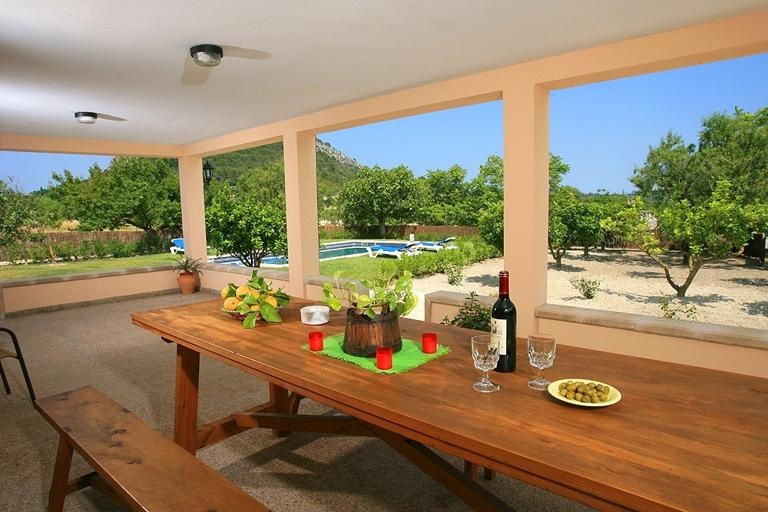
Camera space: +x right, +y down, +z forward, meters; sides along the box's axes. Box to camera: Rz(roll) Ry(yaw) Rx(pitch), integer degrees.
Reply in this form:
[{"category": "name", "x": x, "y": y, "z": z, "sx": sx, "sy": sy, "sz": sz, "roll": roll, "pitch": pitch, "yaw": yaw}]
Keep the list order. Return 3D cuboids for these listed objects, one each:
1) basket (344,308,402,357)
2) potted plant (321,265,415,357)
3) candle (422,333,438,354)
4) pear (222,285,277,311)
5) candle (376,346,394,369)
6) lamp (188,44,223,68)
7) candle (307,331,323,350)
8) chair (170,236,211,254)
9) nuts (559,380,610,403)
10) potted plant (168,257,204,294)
[{"category": "basket", "x": -0.065, "y": 0.427, "z": 2.539, "sx": 0.285, "sy": 0.163, "sz": 0.270, "roll": 0, "pitch": 2, "yaw": -4}, {"category": "potted plant", "x": -0.054, "y": 0.296, "z": 2.691, "sx": 0.560, "sy": 0.441, "sz": 0.482, "roll": 0, "pitch": -1, "yaw": 22}, {"category": "candle", "x": 0.241, "y": 0.487, "z": 2.486, "sx": 0.102, "sy": 0.102, "sz": 0.100, "roll": -1, "pitch": 1, "yaw": -9}, {"category": "pear", "x": -0.887, "y": 0.322, "z": 3.032, "sx": 0.298, "sy": 0.099, "sz": 0.192, "roll": 11, "pitch": 6, "yaw": -19}, {"category": "candle", "x": -0.002, "y": 0.540, "z": 2.380, "sx": 0.101, "sy": 0.099, "sz": 0.098, "roll": -1, "pitch": 1, "yaw": -6}, {"category": "lamp", "x": -1.531, "y": -1.739, "z": 4.003, "sx": 0.278, "sy": 0.145, "sz": 0.286, "roll": -7, "pitch": 13, "yaw": -18}, {"category": "candle", "x": -0.377, "y": 0.495, "z": 2.607, "sx": 0.103, "sy": 0.103, "sz": 0.097, "roll": 0, "pitch": 0, "yaw": 3}, {"category": "chair", "x": -4.526, "y": -0.230, "z": 10.701, "sx": 0.828, "sy": 0.467, "sz": 0.625, "roll": 4, "pitch": 5, "yaw": 39}, {"category": "nuts", "x": 0.896, "y": 0.626, "z": 2.079, "sx": 0.207, "sy": 0.063, "sz": 0.102, "roll": 2, "pitch": 14, "yaw": 21}, {"category": "potted plant", "x": -3.590, "y": 0.390, "z": 8.694, "sx": 0.719, "sy": 0.619, "sz": 0.668, "roll": 0, "pitch": 1, "yaw": -8}]
